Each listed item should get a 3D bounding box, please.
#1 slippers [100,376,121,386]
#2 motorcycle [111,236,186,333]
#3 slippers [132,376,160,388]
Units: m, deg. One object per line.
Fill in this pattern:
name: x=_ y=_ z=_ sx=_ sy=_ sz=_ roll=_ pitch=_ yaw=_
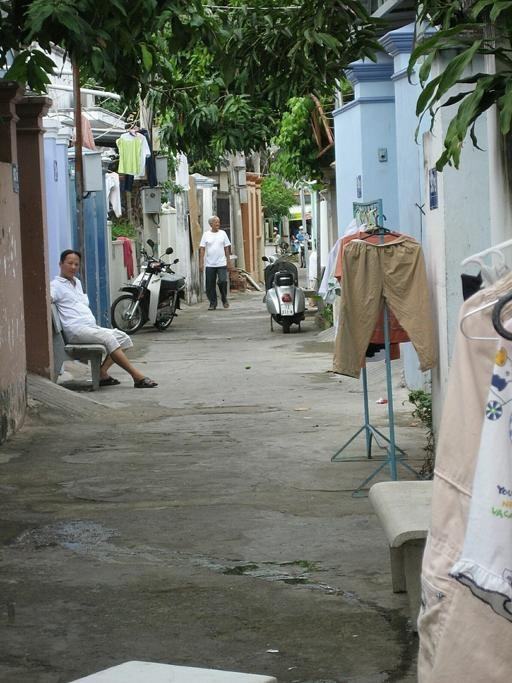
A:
slippers: x=-2.023 y=0.545 z=10.415 sx=0.093 sy=0.086 sz=0.276 roll=1 pitch=4 yaw=30
motorcycle: x=-2.388 y=-1.165 z=16.668 sx=0.873 sy=1.827 sz=2.502 roll=2 pitch=5 yaw=35
slippers: x=-1.496 y=0.547 z=10.215 sx=0.278 sy=0.112 sz=0.141 roll=-1 pitch=4 yaw=9
